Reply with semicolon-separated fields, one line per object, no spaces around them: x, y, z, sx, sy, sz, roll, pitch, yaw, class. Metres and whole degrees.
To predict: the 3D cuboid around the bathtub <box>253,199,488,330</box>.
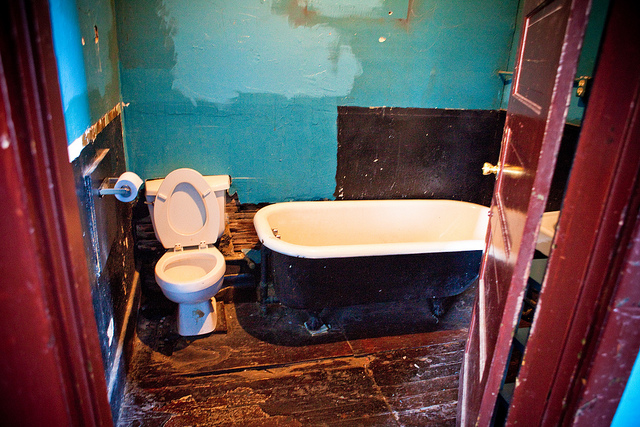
0.415;0.349;3.413;1.751;0.759;0.801;-2;18;-10;bathtub

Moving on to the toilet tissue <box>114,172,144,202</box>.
-1.042;-0.135;2.520;0.124;0.166;0.156;-7;19;-21;toilet tissue

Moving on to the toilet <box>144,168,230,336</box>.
-0.850;0.238;3.129;0.556;1.080;0.702;-5;19;-17;toilet
